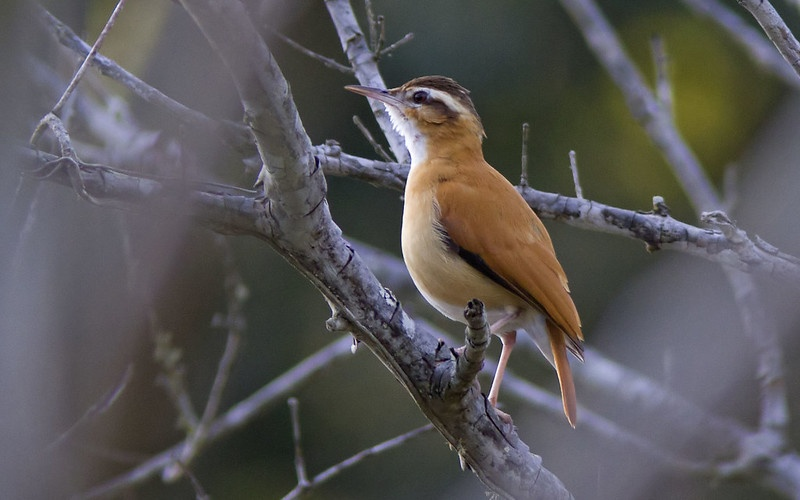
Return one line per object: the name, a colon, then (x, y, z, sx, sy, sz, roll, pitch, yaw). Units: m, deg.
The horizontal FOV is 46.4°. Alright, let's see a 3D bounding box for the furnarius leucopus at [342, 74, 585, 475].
furnarius leucopus: (0.737, 0.085, 10.162, 2.384, 3.827, 1.404, 5, -8, -6)
